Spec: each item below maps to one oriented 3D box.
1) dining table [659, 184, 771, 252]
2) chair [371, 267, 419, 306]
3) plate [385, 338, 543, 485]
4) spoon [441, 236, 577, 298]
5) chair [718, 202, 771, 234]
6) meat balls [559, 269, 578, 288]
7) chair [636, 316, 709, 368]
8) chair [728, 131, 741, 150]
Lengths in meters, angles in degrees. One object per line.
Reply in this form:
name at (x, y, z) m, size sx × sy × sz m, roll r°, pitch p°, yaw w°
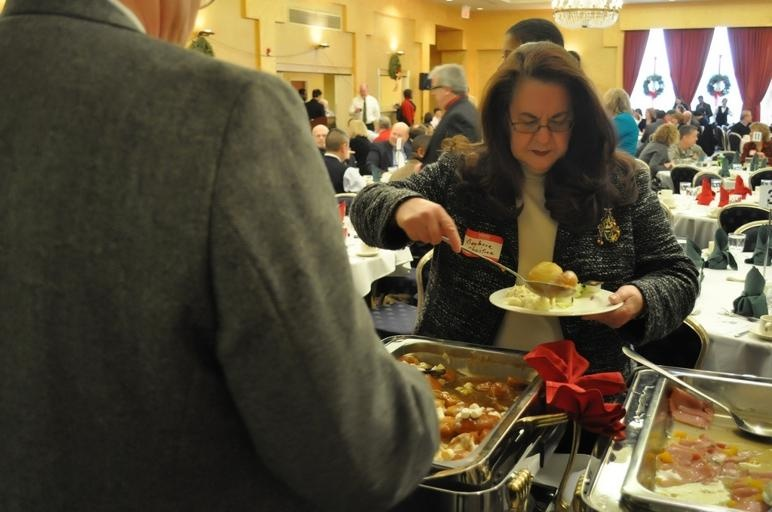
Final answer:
dining table at (2.672, -0.327, 4.945) m, size 0.946 × 0.234 × 0.966 m, roll 11°, pitch 24°, yaw 40°
chair at (0.066, 0.242, 4.335) m, size 0.321 × 0.133 × 0.324 m, roll 4°, pitch 8°, yaw 32°
plate at (0.228, 0.334, 1.340) m, size 0.291 × 0.089 × 0.281 m, roll 2°, pitch 30°, yaw 22°
spoon at (0.310, 0.037, 1.501) m, size 0.369 × 0.046 × 0.080 m, roll 18°, pitch 48°, yaw 0°
chair at (2.504, -0.263, 4.008) m, size 0.188 × 0.257 × 0.183 m, roll 17°, pitch 60°, yaw 33°
meat balls at (0.476, 0.060, 1.513) m, size 0.040 × 0.045 × 0.021 m, roll -42°, pitch -6°, yaw 4°
chair at (0.943, 0.287, 1.889) m, size 0.163 × 0.202 × 0.143 m, roll 18°, pitch 46°, yaw -7°
chair at (6.872, -2.283, 11.362) m, size 0.256 × 0.353 × 0.561 m, roll 7°, pitch 12°, yaw 29°
